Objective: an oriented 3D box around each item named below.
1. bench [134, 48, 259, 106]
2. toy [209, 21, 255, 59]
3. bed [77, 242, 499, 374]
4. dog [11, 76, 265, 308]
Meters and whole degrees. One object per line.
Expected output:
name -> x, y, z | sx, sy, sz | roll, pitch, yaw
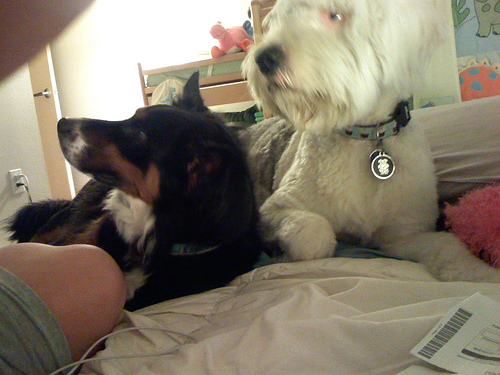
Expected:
bench -> -0.246, -0.412, 1.747 | 0.455, 0.255, 0.248 | -13, 18, -20
toy -> -0.080, -0.629, 1.864 | 0.209, 0.138, 0.098 | 0, 39, -41
bed -> 0.092, 0.281, 0.947 | 0.886, 0.126, 0.368 | -11, 14, 11
dog -> -0.243, 0.018, 1.118 | 0.479, 0.348, 0.711 | -4, 10, -14
